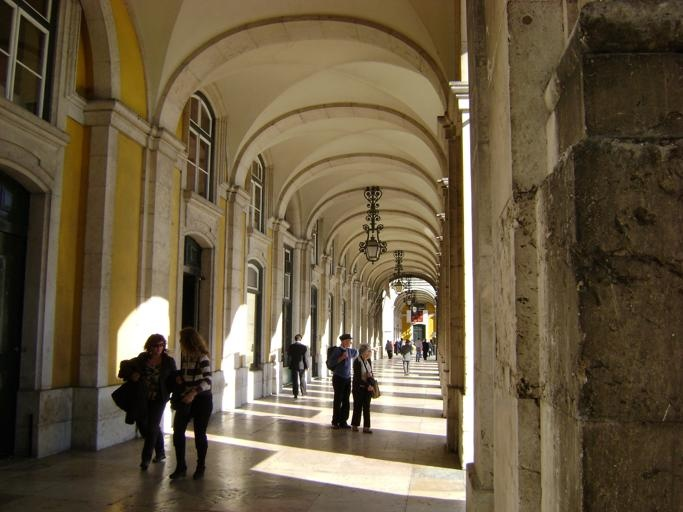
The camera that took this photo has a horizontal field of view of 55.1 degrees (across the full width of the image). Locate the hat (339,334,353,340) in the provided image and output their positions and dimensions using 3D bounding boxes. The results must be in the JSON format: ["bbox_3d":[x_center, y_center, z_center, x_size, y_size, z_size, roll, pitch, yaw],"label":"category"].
[{"bbox_3d":[0.086,1.404,11.226,0.157,0.090,0.229,2,-8,14],"label":"hat"}]

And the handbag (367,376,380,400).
[{"bbox_3d":[0.525,2.115,10.483,0.180,0.321,0.361,1,-12,1],"label":"handbag"}]

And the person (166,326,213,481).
[{"bbox_3d":[-1.684,1.672,7.380,0.436,1.674,0.518,4,-12,-14],"label":"person"}]

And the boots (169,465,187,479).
[{"bbox_3d":[-1.815,2.439,7.290,0.080,0.187,0.250,-2,-31,9],"label":"boots"}]

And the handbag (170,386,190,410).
[{"bbox_3d":[-1.819,1.603,7.301,0.060,0.254,0.231,13,-10,-34],"label":"handbag"}]
